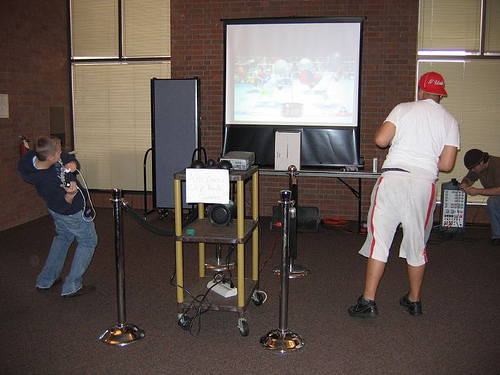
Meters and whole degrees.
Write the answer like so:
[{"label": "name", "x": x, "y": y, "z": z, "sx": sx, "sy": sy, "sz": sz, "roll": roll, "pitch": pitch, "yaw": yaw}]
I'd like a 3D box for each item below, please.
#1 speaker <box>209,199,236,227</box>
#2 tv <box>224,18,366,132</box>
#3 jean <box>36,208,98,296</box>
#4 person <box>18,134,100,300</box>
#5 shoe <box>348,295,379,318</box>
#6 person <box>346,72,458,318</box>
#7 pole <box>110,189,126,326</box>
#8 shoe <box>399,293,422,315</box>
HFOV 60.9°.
[{"label": "speaker", "x": -0.215, "y": 0.252, "z": 3.818, "sx": 0.223, "sy": 0.212, "sz": 0.417, "roll": -3, "pitch": -4, "yaw": 13}, {"label": "tv", "x": 0.788, "y": -1.782, "z": 6.617, "sx": 1.794, "sy": 1.407, "sz": 0.018, "roll": 1, "pitch": 6, "yaw": 9}, {"label": "jean", "x": -1.830, "y": 0.611, "z": 4.218, "sx": 0.615, "sy": 0.858, "sz": 0.260, "roll": 5, "pitch": 12, "yaw": 27}, {"label": "person", "x": -1.830, "y": 0.285, "z": 4.100, "sx": 0.626, "sy": 1.576, "sz": 0.472, "roll": 5, "pitch": 12, "yaw": 27}, {"label": "shoe", "x": 1.014, "y": 1.088, "z": 3.873, "sx": 0.298, "sy": 0.206, "sz": 0.129, "roll": 2, "pitch": 4, "yaw": 31}, {"label": "person", "x": 1.330, "y": 0.095, "z": 3.704, "sx": 0.862, "sy": 2.136, "sz": 0.430, "roll": -4, "pitch": 11, "yaw": -21}, {"label": "pole", "x": -1.049, "y": 0.558, "z": 3.433, "sx": 0.099, "sy": 1.121, "sz": 0.197, "roll": -4, "pitch": 11, "yaw": -18}, {"label": "shoe", "x": 1.486, "y": 1.068, "z": 3.898, "sx": 0.087, "sy": 0.112, "sz": 0.230, "roll": -1, "pitch": 11, "yaw": 7}]
